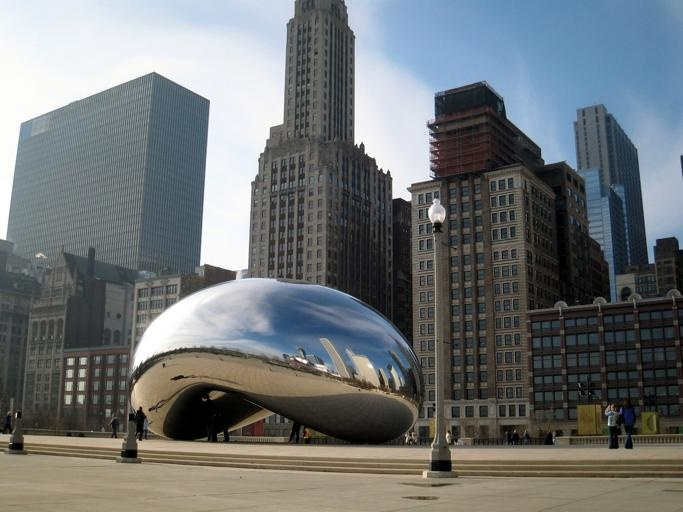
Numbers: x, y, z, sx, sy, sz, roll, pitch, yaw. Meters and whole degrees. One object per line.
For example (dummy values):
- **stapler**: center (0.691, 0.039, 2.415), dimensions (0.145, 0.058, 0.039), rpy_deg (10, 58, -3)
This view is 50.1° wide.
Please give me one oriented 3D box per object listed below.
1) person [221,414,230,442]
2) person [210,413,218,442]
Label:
- **person**: center (-6.502, 9.554, 40.876), dimensions (0.359, 1.078, 1.300), rpy_deg (1, 1, -5)
- **person**: center (-7.005, 9.342, 40.171), dimensions (0.350, 1.024, 0.535), rpy_deg (1, 1, -11)
